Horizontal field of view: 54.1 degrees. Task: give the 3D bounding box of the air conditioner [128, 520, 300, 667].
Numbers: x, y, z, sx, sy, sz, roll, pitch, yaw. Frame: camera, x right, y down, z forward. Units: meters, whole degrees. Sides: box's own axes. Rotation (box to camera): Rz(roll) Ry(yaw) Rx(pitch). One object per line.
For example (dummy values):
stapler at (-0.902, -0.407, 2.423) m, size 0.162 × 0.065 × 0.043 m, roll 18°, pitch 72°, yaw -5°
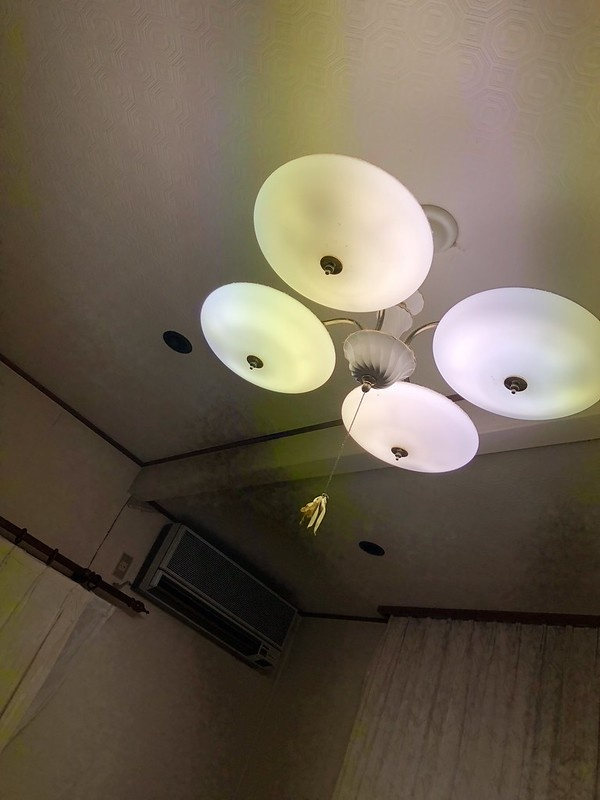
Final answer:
air conditioner at (-0.560, 1.345, 3.979) m, size 0.318 × 0.508 × 1.182 m, roll -6°, pitch -42°, yaw 47°
